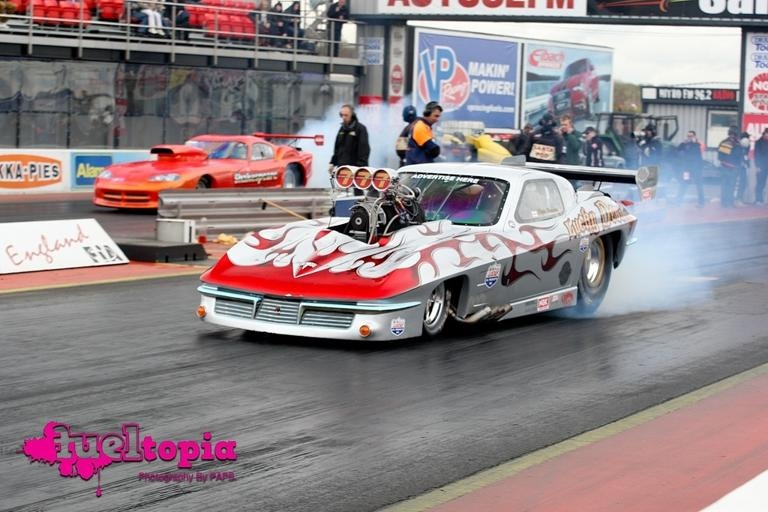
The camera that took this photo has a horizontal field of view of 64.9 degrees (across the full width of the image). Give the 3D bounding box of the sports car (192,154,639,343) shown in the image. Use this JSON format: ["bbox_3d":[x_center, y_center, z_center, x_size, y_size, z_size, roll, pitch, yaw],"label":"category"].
[{"bbox_3d":[0.814,-0.149,7.297,4.527,1.342,2.421,-1,3,-44],"label":"sports car"}]
